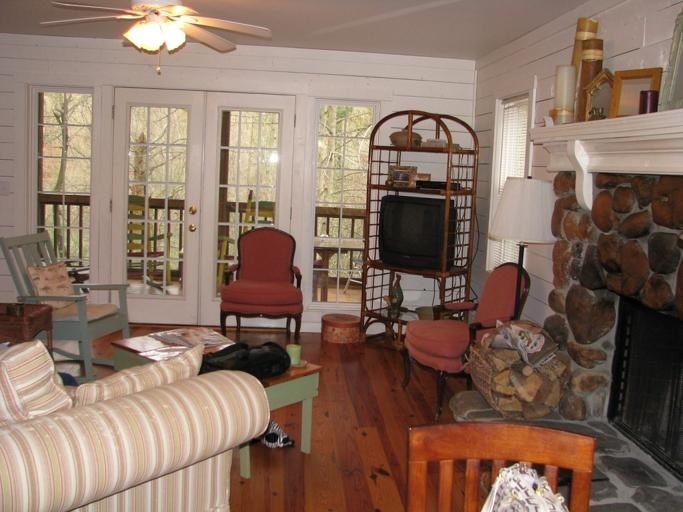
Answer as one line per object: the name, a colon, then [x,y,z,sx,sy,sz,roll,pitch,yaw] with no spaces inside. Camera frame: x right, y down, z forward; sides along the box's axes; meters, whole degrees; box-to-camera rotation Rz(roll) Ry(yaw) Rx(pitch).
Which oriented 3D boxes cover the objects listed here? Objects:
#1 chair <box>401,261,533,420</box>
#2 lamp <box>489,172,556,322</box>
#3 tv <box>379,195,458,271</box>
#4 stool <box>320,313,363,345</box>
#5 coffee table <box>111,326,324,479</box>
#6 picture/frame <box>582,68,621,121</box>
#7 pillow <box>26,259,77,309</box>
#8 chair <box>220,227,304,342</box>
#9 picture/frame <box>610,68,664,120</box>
chair: [1.010,0.599,4.285,0.881,1.127,0.785,0,9,-17]
lamp: [1.291,-0.038,3.801,0.372,1.027,0.495,11,14,42]
tv: [0.801,-0.210,5.393,0.809,0.763,0.465,11,14,40]
stool: [0.003,0.741,5.676,0.331,0.170,0.328,0,4,0]
coffee table: [-0.634,0.900,3.296,1.076,0.591,0.826,12,17,36]
picture/frame: [1.620,-0.990,3.342,0.211,0.343,0.041,-12,35,3]
pillow: [-2.425,0.235,4.460,0.116,0.361,0.394,-23,-17,23]
chair: [-0.840,0.296,5.549,0.801,1.118,0.711,0,10,-12]
picture/frame: [1.753,-0.948,3.197,0.267,0.322,0.025,-7,28,4]
